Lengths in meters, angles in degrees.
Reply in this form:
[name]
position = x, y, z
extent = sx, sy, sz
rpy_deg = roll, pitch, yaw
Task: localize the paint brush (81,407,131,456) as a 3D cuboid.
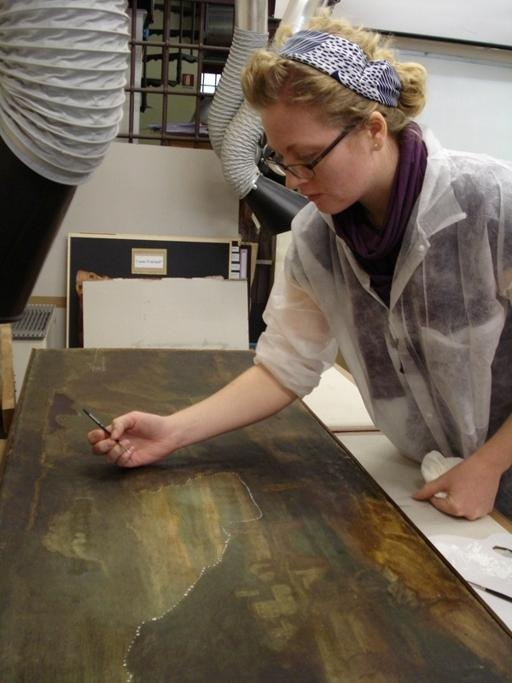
[paint brush]
position = -0.331, 0.200, 1.191
extent = 0.022, 0.016, 0.194
rpy_deg = -20, 42, -40
